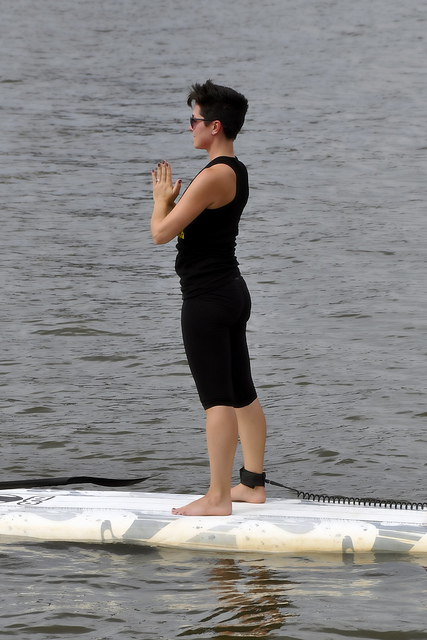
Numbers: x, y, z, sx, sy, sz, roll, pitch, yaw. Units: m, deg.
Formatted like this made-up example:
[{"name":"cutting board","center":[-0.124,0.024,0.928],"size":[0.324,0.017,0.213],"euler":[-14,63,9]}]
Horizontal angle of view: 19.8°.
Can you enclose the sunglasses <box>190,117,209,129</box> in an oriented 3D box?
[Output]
[{"name":"sunglasses","center":[-0.073,-0.925,5.760],"size":[0.067,0.061,0.020],"euler":[0,73,-1]}]

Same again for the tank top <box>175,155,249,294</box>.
[{"name":"tank top","center":[0.017,-0.427,5.710],"size":[0.430,0.623,0.312],"euler":[-16,34,-19]}]
